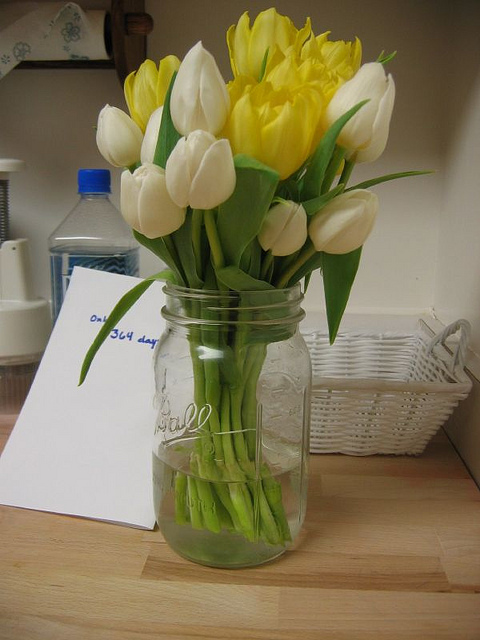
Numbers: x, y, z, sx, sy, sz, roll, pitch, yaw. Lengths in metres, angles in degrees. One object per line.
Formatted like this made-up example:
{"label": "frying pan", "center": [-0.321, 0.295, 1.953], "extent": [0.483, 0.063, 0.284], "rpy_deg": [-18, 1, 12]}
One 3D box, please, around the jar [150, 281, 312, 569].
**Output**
{"label": "jar", "center": [-0.003, 0.086, 0.499], "extent": [0.137, 0.216, 0.134], "rpy_deg": [0, 1, 0]}

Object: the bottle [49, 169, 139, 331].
{"label": "bottle", "center": [-0.196, -0.087, 0.745], "extent": [0.129, 0.208, 0.209], "rpy_deg": [-1, 13, -10]}
